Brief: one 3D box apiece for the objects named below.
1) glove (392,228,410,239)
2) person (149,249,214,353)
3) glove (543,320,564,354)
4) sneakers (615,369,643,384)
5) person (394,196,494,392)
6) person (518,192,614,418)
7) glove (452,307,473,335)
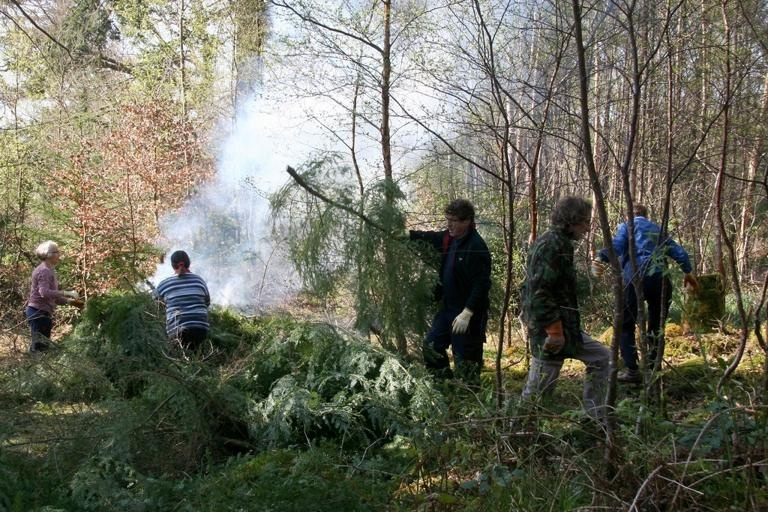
[{"bbox_3d":[0.196,-0.273,8.507,0.222,0.140,0.073,8,-7,-38],"label":"glove"},{"bbox_3d":[-2.604,0.563,9.299,0.695,1.265,0.477,5,-6,-17],"label":"person"},{"bbox_3d":[1.755,0.835,7.383,0.104,0.223,0.296,12,-40,-11],"label":"glove"},{"bbox_3d":[2.925,1.426,8.529,0.248,0.162,0.508,2,-6,19],"label":"sneakers"},{"bbox_3d":[0.814,0.383,8.583,0.883,2.099,0.734,1,-6,20],"label":"person"},{"bbox_3d":[1.885,0.493,7.485,0.963,2.270,0.718,4,-6,-7],"label":"person"},{"bbox_3d":[0.941,0.783,8.470,0.203,0.301,0.094,-6,-37,47],"label":"glove"}]
